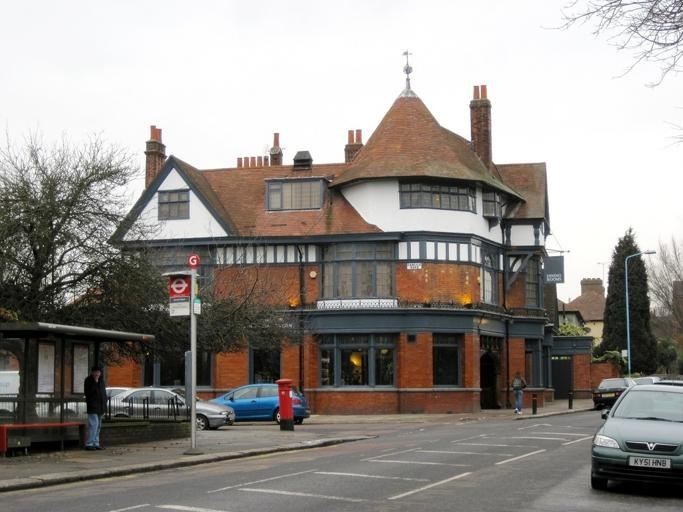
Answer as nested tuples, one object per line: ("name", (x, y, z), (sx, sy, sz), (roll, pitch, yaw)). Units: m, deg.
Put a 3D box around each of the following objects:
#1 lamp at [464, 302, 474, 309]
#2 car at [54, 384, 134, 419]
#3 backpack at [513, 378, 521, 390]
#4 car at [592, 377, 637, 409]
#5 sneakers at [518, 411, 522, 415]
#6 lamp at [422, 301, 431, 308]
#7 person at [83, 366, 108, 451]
("lamp", (5.921, 2.376, 49.708), (0.248, 0.295, 0.398), (-3, -6, 31))
("car", (-7.284, 4.464, 30.938), (2.058, 1.109, 1.228), (4, -6, -31))
("backpack", (7.919, 5.824, 47.814), (0.418, 0.364, 0.642), (0, 35, 10))
("car", (12.919, 6.544, 50.724), (1.561, 1.268, 3.577), (-6, -11, 25))
("sneakers", (7.971, 7.100, 47.340), (0.107, 0.094, 0.185), (4, -18, -11))
("lamp", (3.899, 2.281, 49.034), (0.316, 0.555, 0.263), (0, 1, 37))
("person", (-7.070, 4.339, 29.951), (0.649, 2.381, 0.898), (1, -11, -14))
